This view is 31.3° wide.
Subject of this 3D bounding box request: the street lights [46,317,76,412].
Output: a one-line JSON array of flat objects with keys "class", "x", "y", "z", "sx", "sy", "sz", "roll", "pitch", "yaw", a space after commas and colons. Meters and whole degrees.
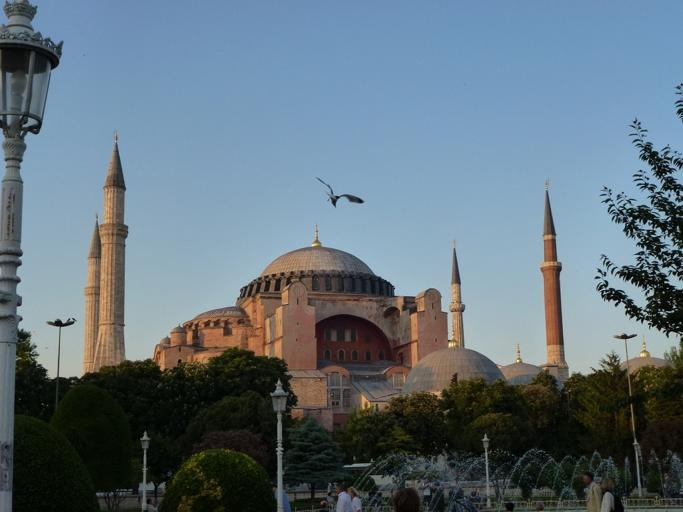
[{"class": "street lights", "x": -10.684, "y": 3.741, "z": 45.872, "sx": 0.682, "sy": 2.256, "sz": 0.650, "roll": 5, "pitch": -11, "yaw": -19}]
